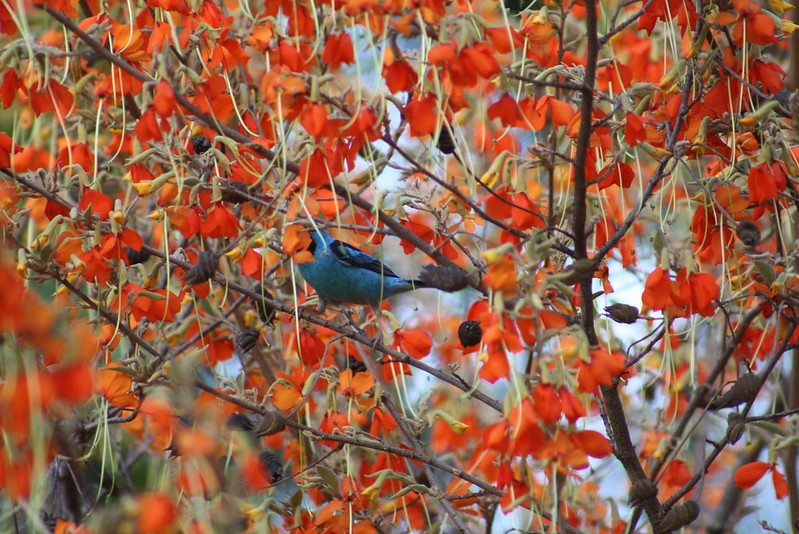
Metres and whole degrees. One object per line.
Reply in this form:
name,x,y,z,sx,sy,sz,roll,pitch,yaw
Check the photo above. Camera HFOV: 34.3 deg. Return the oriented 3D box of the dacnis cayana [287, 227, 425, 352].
dacnis cayana,-0.165,0.033,5.714,0.585,0.408,0.230,2,-30,-20
